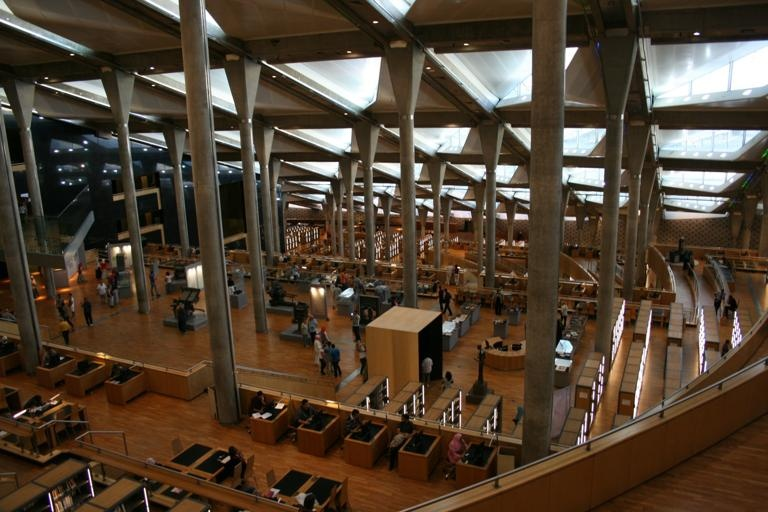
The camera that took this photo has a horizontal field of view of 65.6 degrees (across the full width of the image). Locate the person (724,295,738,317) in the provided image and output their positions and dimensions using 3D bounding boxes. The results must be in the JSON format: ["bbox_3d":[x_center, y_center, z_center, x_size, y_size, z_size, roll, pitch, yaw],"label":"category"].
[{"bbox_3d":[17.598,2.612,30.482,0.456,1.025,0.345,3,-2,-45],"label":"person"}]

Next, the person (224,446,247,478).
[{"bbox_3d":[-4.641,6.504,18.581,0.607,0.903,1.201,-2,5,-23],"label":"person"}]

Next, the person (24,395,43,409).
[{"bbox_3d":[-12.274,5.132,21.023,0.591,0.248,0.737,-7,11,-7],"label":"person"}]
